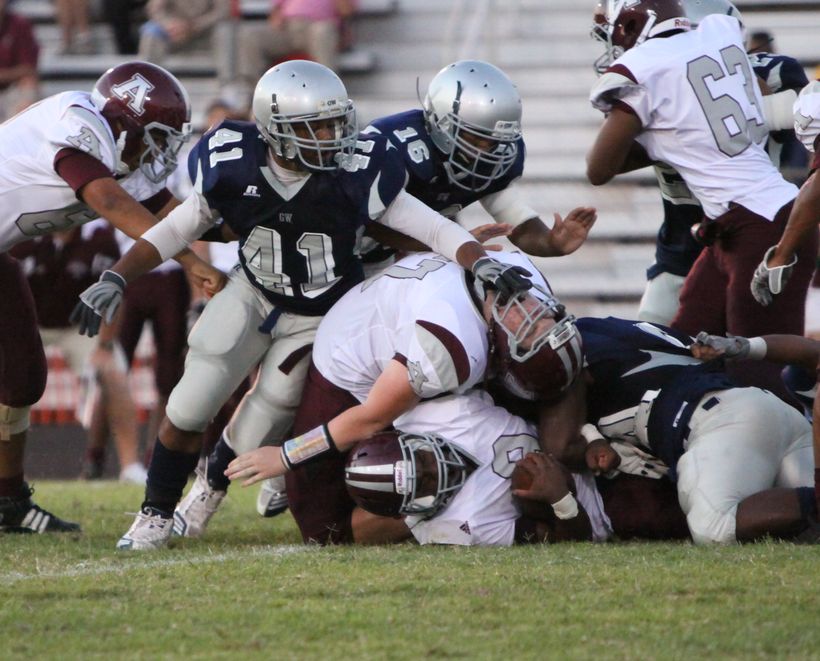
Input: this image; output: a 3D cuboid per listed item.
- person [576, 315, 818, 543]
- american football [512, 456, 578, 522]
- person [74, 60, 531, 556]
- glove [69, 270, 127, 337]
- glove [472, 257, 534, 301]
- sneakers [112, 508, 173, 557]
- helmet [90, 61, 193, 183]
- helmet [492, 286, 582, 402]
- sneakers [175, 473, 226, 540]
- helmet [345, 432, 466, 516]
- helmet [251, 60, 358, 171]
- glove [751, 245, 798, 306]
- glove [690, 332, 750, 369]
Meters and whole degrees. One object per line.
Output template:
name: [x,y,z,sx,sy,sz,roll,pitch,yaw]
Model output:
person: [0.931,0.290,4.531,0.793,0.642,0.425,6,15,41]
american football: [0.414,0.485,4.411,0.198,0.207,0.092,-3,11,3]
person: [-0.479,-0.037,4.610,1.215,1.600,0.861,4,5,-6]
glove: [-0.972,-0.100,4.483,0.138,0.216,0.086,37,-13,-2]
glove: [0.291,-0.175,4.430,0.163,0.060,0.129,30,47,34]
sneakers: [-0.877,0.654,4.639,0.101,0.083,0.194,9,7,26]
helmet: [-0.926,-0.736,4.853,0.352,0.360,0.325,18,15,-29]
helmet: [0.389,0.048,4.544,0.260,0.276,0.347,-22,-1,-25]
sneakers: [-0.713,0.576,4.950,0.126,0.101,0.296,-12,34,21]
helmet: [-0.012,0.414,4.437,0.324,0.232,0.273,-1,2,22]
helmet: [-0.344,-0.710,4.537,0.365,0.301,0.315,11,25,13]
glove: [1.177,-0.187,4.695,0.086,0.188,0.145,3,60,-15]
glove: [0.976,0.073,4.483,0.171,0.080,0.104,9,13,-18]
